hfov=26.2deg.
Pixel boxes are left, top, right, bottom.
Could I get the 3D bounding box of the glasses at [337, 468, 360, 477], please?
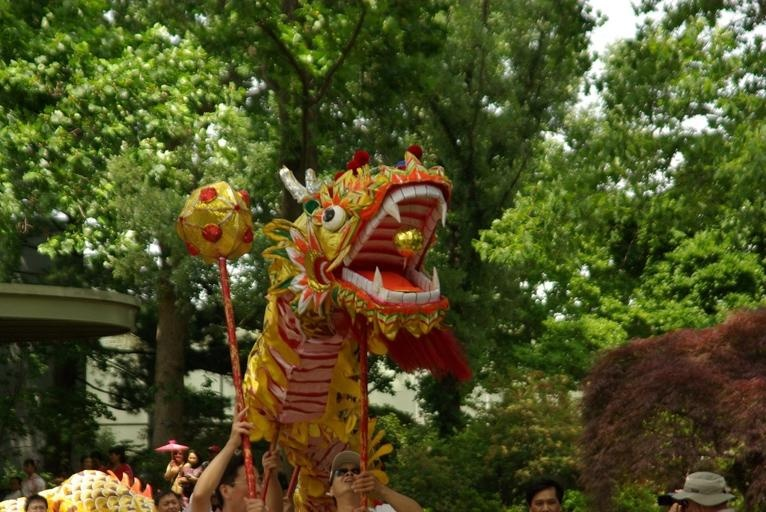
[{"bbox_3d":[-0.568,3.568,26.749,0.182,0.047,0.176,2,-39,-4],"label":"glasses"}]
